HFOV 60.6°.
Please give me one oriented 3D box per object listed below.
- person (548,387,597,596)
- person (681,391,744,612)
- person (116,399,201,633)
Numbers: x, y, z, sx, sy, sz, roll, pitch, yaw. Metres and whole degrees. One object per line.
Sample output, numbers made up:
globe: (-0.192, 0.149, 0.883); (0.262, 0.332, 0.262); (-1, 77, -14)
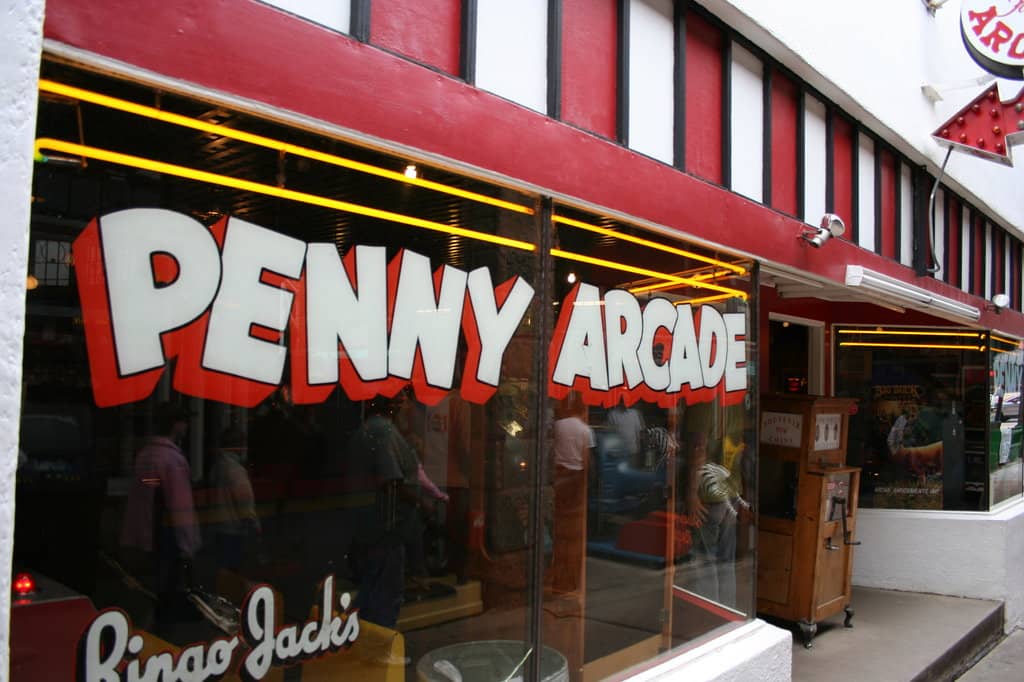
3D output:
person: (0.378, 0.944, 5.380); (0.136, 1.197, 0.374); (-5, -5, 35)
person: (1.476, 1.212, 6.410); (0.199, 1.490, 0.738); (-6, -5, 37)
person: (-1.574, 0.828, 3.919); (0.324, 0.927, 0.099); (0, -4, -26)
